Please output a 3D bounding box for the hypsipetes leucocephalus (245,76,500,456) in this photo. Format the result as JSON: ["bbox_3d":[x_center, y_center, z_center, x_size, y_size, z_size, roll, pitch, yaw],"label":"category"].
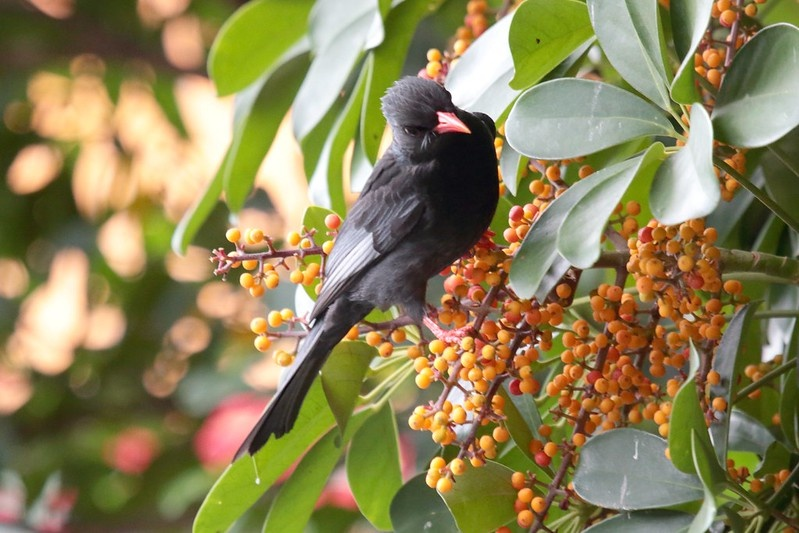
[{"bbox_3d":[-0.100,-0.045,3.327,1.323,0.847,0.409,-24,-6,29],"label":"hypsipetes leucocephalus"}]
